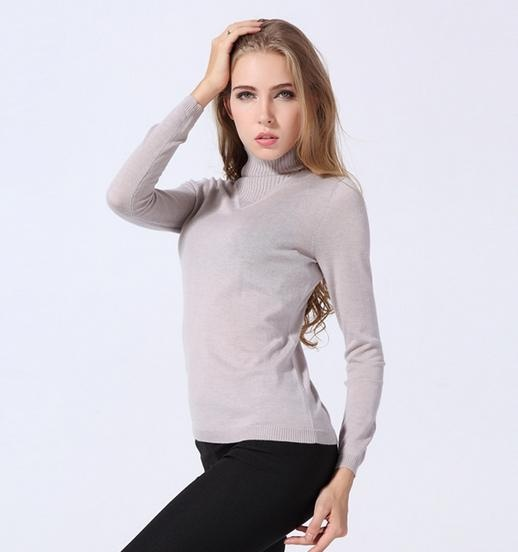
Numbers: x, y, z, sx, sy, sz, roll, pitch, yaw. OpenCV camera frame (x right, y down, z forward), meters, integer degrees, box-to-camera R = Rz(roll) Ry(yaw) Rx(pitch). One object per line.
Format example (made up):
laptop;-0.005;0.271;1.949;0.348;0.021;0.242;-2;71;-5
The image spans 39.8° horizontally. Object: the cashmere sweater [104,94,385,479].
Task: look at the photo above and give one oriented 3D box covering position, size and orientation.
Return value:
cashmere sweater;-0.042;0.009;2.053;0.701;1.079;0.264;-5;-7;20
